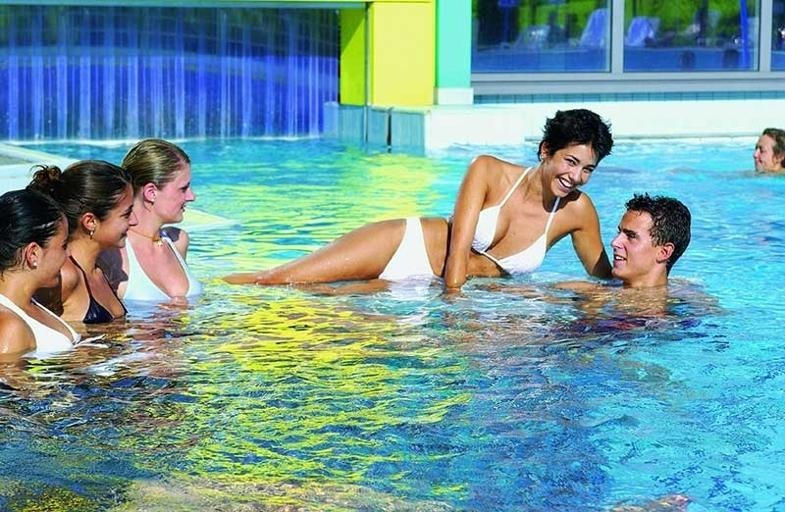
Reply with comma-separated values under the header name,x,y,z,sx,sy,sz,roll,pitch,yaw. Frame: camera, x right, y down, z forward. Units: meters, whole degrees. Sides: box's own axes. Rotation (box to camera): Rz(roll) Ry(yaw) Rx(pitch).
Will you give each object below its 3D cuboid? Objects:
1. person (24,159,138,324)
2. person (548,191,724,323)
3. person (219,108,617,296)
name,x,y,z,sx,sy,sz,roll,pitch,yaw
person,-1.434,-0.059,3.750,0.585,0.787,0.564,-5,32,-24
person,1.374,-0.012,4.492,0.884,0.626,0.741,-1,9,1
person,0.236,-0.252,4.826,2.834,0.889,0.664,-1,5,16
